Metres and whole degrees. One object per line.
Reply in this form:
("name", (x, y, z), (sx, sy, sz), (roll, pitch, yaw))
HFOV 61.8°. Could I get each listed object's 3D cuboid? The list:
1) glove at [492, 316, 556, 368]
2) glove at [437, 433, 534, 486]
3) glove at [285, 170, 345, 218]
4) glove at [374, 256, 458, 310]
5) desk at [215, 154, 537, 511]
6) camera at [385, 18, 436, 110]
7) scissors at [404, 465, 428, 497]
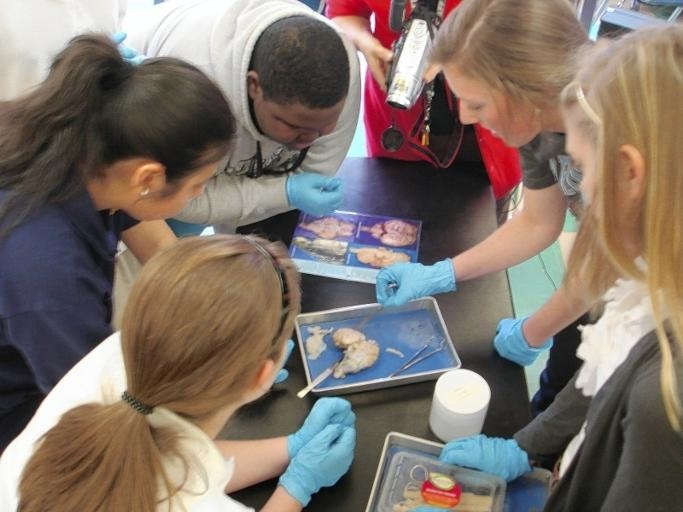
("glove", (0.696, 0.376, 2.246), (0.163, 0.096, 0.200), (-37, 47, -19))
("glove", (0.492, 0.684, 1.929), (0.257, 0.083, 0.155), (13, 52, -1))
("glove", (-0.123, -0.293, 2.752), (0.235, 0.195, 0.250), (-7, 1, 5))
("glove", (0.304, 0.111, 2.412), (0.291, 0.098, 0.192), (-11, 39, 16))
("desk", (0.181, 0.460, 2.467), (0.970, 0.398, 1.729), (3, 44, 6))
("camera", (0.293, -0.822, 2.526), (0.153, 0.137, 0.477), (16, 75, -16))
("scissors", (0.250, 0.753, 1.902), (0.047, 0.018, 0.083), (0, 49, 11))
